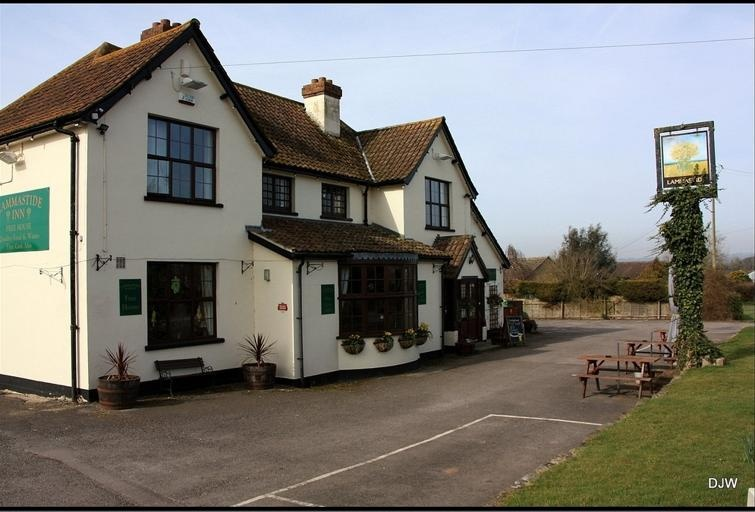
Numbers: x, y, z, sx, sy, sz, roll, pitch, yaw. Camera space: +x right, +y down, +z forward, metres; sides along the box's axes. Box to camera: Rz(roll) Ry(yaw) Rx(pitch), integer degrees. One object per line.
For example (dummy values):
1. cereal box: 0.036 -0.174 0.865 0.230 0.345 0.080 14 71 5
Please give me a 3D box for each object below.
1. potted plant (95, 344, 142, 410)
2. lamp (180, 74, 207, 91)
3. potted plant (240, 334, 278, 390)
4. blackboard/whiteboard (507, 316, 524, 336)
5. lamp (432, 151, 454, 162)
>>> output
1. potted plant: -7.908 3.607 21.291 1.168 1.811 1.233 -3 7 -23
2. lamp: -6.236 -5.893 23.506 0.810 0.479 0.437 -1 6 0
3. potted plant: -4.071 3.630 24.254 1.392 1.852 1.422 0 -2 -1
4. blackboard/whiteboard: 6.605 3.371 33.851 0.817 0.975 0.099 7 -12 -34
5. lamp: 3.100 -4.684 32.776 0.573 0.388 1.527 3 7 28
